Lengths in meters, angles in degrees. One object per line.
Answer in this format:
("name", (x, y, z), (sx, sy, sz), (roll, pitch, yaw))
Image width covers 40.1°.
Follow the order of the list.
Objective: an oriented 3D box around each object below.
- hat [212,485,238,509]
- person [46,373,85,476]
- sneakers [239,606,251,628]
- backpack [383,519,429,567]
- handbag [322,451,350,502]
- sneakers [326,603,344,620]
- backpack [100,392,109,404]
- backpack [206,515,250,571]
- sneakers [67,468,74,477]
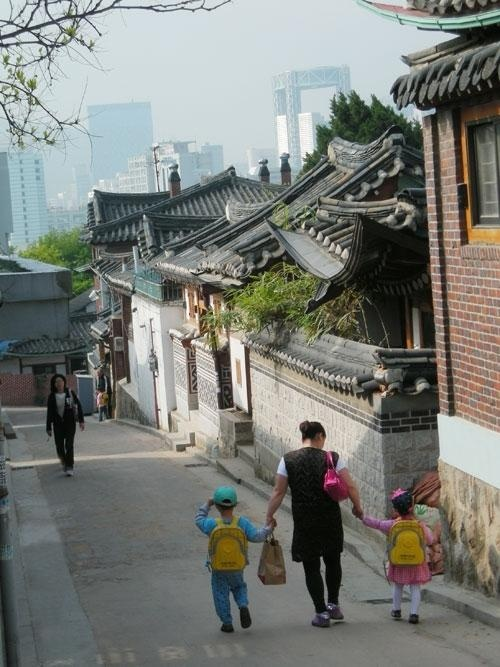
("hat", (-0.172, 1.092, 4.573), (0.159, 0.179, 0.207), (-4, 5, -5))
("person", (-3.100, 1.585, 11.513), (0.567, 1.892, 1.089), (-5, 5, -15))
("sneakers", (-0.033, 1.909, 4.611), (0.069, 0.165, 0.074), (-4, -4, -4))
("backpack", (1.059, 1.416, 4.623), (0.253, 0.343, 0.188), (-2, 5, 11))
("handbag", (0.575, 0.976, 4.591), (0.168, 0.344, 0.144), (-2, 5, 10))
("sneakers", (0.599, 1.955, 4.795), (0.059, 0.071, 0.174), (4, 0, 21))
("backpack", (-6.778, 3.004, 31.647), (0.375, 0.540, 0.818), (-4, 5, -11))
("backpack", (-0.141, 1.366, 4.439), (0.236, 0.327, 0.145), (-3, 5, 0))
("sneakers", (-3.146, 2.431, 11.981), (0.071, 0.089, 0.201), (2, 10, -5))
